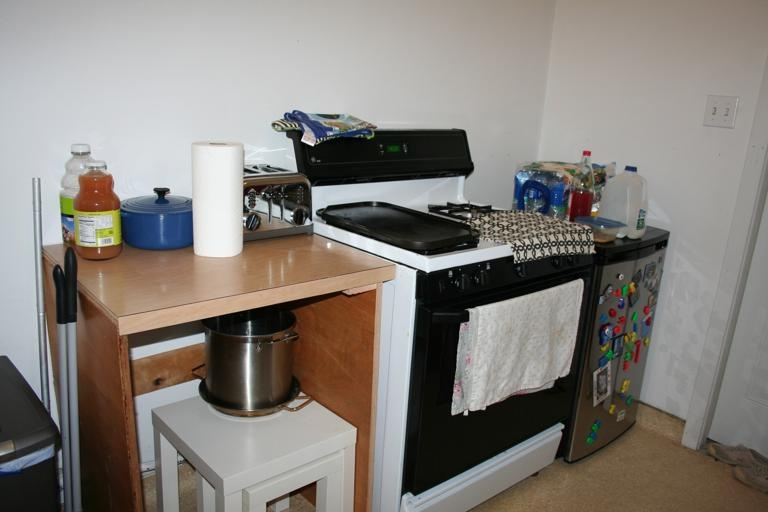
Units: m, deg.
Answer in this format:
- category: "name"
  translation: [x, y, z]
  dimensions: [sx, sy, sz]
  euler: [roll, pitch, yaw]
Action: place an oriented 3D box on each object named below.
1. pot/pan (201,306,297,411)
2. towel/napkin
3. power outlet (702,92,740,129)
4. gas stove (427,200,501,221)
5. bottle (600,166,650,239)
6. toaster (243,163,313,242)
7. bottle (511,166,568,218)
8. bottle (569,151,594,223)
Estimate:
- category: "pot/pan"
  translation: [-0.463, 0.395, 2.182]
  dimensions: [0.407, 0.289, 0.356]
  euler: [7, 12, 20]
- category: "towel/napkin"
  translation: [0.492, 0.339, 2.174]
  dimensions: [0.589, 0.394, 0.064]
  euler: [-13, 23, -31]
- category: "power outlet"
  translation: [1.583, -0.685, 2.663]
  dimensions: [0.165, 0.176, 0.021]
  euler: [15, 15, 43]
- category: "gas stove"
  translation: [0.322, -0.213, 2.559]
  dimensions: [0.293, 0.031, 0.362]
  euler: [-11, 21, -34]
- category: "bottle"
  translation: [1.094, -0.246, 2.595]
  dimensions: [0.211, 0.313, 0.217]
  euler: [6, 12, -1]
- category: "toaster"
  translation: [-0.444, -0.209, 2.200]
  dimensions: [0.287, 0.208, 0.282]
  euler: [-11, 24, -35]
- category: "bottle"
  translation: [0.760, -0.325, 2.744]
  dimensions: [0.257, 0.241, 0.254]
  euler: [14, 24, 32]
- category: "bottle"
  translation: [0.910, -0.314, 2.605]
  dimensions: [0.103, 0.309, 0.258]
  euler: [7, 19, 19]
